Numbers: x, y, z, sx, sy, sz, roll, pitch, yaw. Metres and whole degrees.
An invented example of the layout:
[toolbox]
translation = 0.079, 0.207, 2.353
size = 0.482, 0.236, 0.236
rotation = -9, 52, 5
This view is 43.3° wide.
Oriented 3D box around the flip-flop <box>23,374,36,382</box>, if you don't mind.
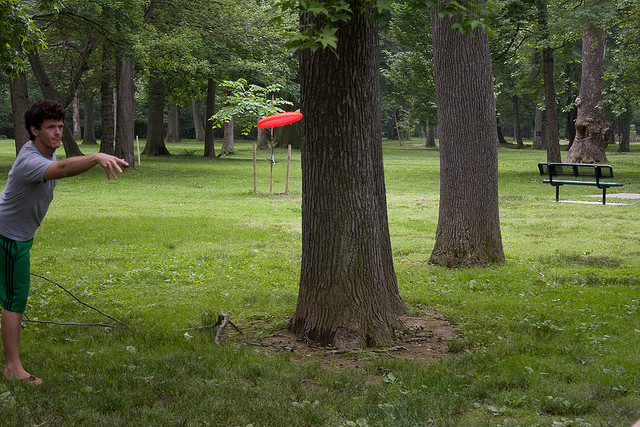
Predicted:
[flip-flop]
translation = -4.457, 2.519, 12.360
size = 0.073, 0.089, 0.085
rotation = -9, 39, -41
